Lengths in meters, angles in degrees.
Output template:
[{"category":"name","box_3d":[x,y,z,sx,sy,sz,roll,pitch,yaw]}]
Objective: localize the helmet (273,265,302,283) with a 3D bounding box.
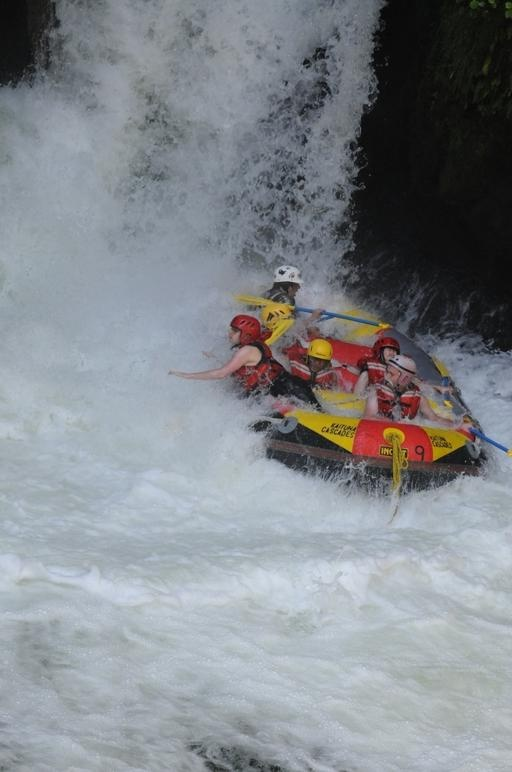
[{"category":"helmet","box_3d":[0.388,-1.330,9.976,0.308,0.197,0.210,-10,23,-16]}]

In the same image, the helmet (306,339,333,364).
[{"category":"helmet","box_3d":[0.622,-0.351,8.217,0.222,0.190,0.237,10,18,-3]}]

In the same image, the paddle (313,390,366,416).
[{"category":"paddle","box_3d":[0.796,0.139,8.118,0.467,0.124,0.195,9,36,-8]}]

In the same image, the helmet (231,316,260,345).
[{"category":"helmet","box_3d":[-0.133,-0.559,8.244,0.366,0.268,0.242,-3,19,-8]}]
